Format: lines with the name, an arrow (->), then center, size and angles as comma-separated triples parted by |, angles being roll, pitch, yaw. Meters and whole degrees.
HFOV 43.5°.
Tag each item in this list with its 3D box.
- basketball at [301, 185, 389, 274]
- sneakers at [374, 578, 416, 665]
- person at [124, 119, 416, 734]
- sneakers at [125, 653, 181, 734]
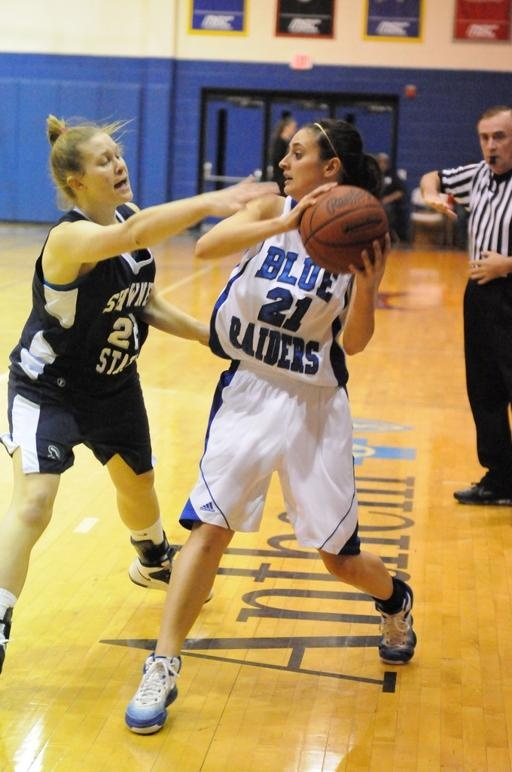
basketball -> 0.150, -0.312, 1.269 | 0.148, 0.149, 0.151 | -15, 2, 16
sneakers -> 0.347, 0.604, 1.702 | 0.098, 0.267, 0.122 | -4, -18, 21
person -> 0.080, 0.099, 1.434 | 0.736, 1.317, 0.445 | 0, 6, -12
sneakers -> -0.198, 0.632, 1.338 | 0.075, 0.087, 0.207 | 3, 4, 3
